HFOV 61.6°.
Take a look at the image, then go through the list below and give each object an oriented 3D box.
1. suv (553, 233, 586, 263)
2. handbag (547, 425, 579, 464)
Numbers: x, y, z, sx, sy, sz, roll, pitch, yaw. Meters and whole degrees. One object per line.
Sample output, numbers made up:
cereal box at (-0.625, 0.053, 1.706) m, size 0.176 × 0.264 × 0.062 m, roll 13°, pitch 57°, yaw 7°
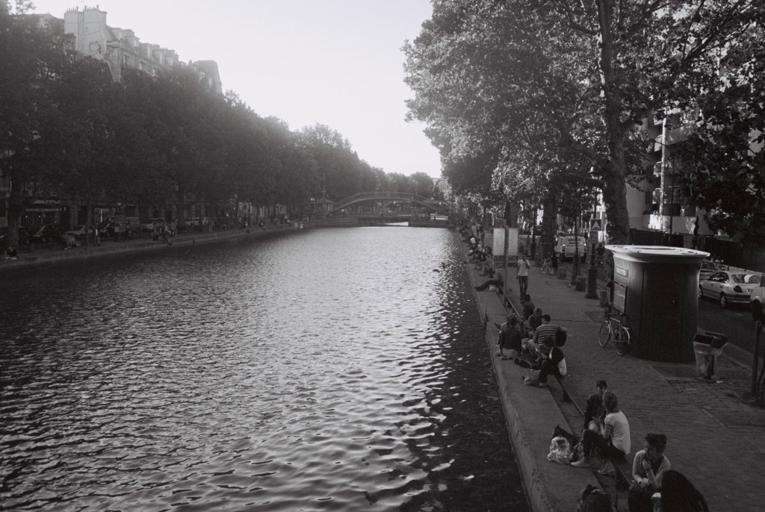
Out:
suv at (16.421, -0.313, 55.435) m, size 2.571 × 2.460 × 4.496 m, roll -1°, pitch 9°, yaw 3°
handbag at (4.403, 4.611, 15.695) m, size 0.797 × 0.717 × 0.636 m, roll -1°, pitch 11°, yaw 5°
